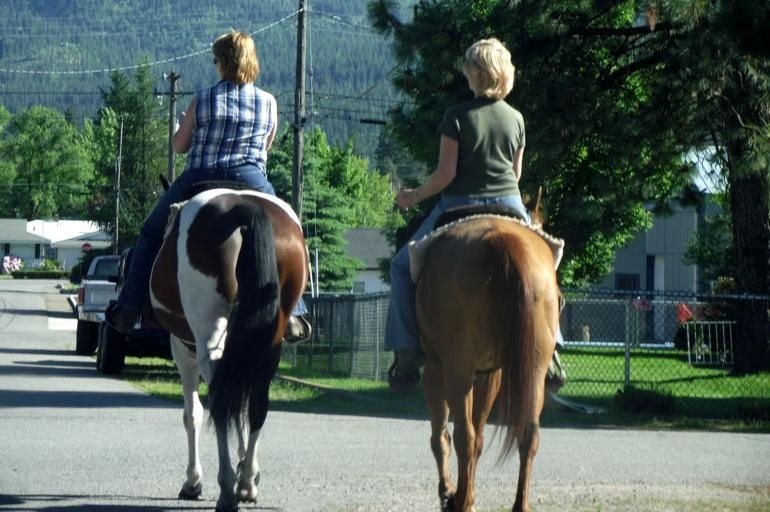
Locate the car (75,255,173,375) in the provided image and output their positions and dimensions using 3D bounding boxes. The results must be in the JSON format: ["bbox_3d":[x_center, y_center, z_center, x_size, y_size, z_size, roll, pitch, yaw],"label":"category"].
[{"bbox_3d":[-7.570,1.968,42.477,2.262,2.943,5.169,1,0,-11],"label":"car"}]
